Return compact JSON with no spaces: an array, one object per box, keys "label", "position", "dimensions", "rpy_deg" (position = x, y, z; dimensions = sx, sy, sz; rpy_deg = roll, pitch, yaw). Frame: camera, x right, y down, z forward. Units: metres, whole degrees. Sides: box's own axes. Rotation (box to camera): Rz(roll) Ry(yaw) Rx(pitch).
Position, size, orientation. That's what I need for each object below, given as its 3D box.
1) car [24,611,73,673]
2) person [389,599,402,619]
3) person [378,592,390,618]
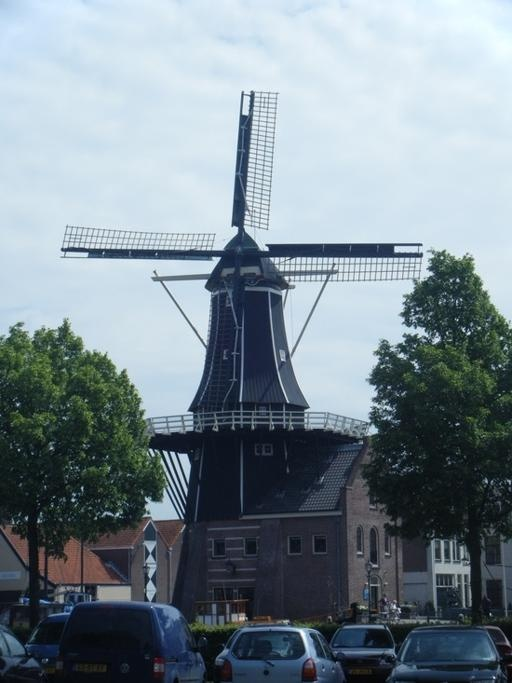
[{"label":"car","position":[-4.665,6.578,31.971],"dimensions":[1.206,1.205,2.256],"rpy_deg":[-1,-19,3]},{"label":"person","position":[5.923,11.383,61.182],"dimensions":[0.519,0.696,1.123],"rpy_deg":[0,-5,4]},{"label":"person","position":[5.474,11.253,61.159],"dimensions":[0.350,0.951,1.752],"rpy_deg":[13,0,0]}]
